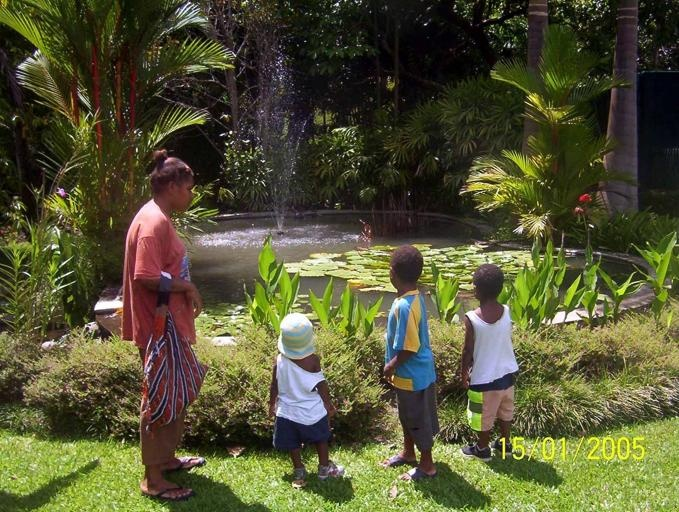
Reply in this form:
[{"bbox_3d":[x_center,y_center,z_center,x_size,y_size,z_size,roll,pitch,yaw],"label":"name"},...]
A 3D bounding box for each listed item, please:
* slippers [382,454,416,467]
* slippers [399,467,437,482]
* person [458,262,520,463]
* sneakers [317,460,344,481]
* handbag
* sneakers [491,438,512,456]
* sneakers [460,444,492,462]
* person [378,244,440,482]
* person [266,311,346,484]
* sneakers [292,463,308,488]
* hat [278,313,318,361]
[{"bbox_3d":[0.340,1.151,3.421,0.173,0.059,0.075,3,4,-5],"label":"slippers"},{"bbox_3d":[0.424,1.187,3.278,0.168,0.058,0.075,2,7,-3],"label":"slippers"},{"bbox_3d":[0.855,0.608,3.505,0.312,1.111,0.206,-3,7,-31],"label":"person"},{"bbox_3d":[-0.043,1.173,3.326,0.143,0.085,0.063,-1,3,-31],"label":"sneakers"},{"bbox_3d":[-0.834,0.564,3.097,0.285,0.541,0.121,-1,6,-20],"label":"handbag"},{"bbox_3d":[0.959,1.117,3.558,0.054,0.065,0.137,-1,9,-8],"label":"sneakers"},{"bbox_3d":[0.790,1.112,3.506,0.162,0.082,0.074,11,14,34],"label":"sneakers"},{"bbox_3d":[0.405,0.574,3.341,0.306,1.231,0.293,2,6,7],"label":"person"},{"bbox_3d":[-0.173,0.778,3.301,0.370,1.004,0.247,-5,14,-12],"label":"person"},{"bbox_3d":[-0.215,1.175,3.207,0.040,0.062,0.132,0,-2,4],"label":"sneakers"},{"bbox_3d":[-0.232,0.439,3.239,0.152,0.139,0.247,-4,41,-6],"label":"hat"}]
